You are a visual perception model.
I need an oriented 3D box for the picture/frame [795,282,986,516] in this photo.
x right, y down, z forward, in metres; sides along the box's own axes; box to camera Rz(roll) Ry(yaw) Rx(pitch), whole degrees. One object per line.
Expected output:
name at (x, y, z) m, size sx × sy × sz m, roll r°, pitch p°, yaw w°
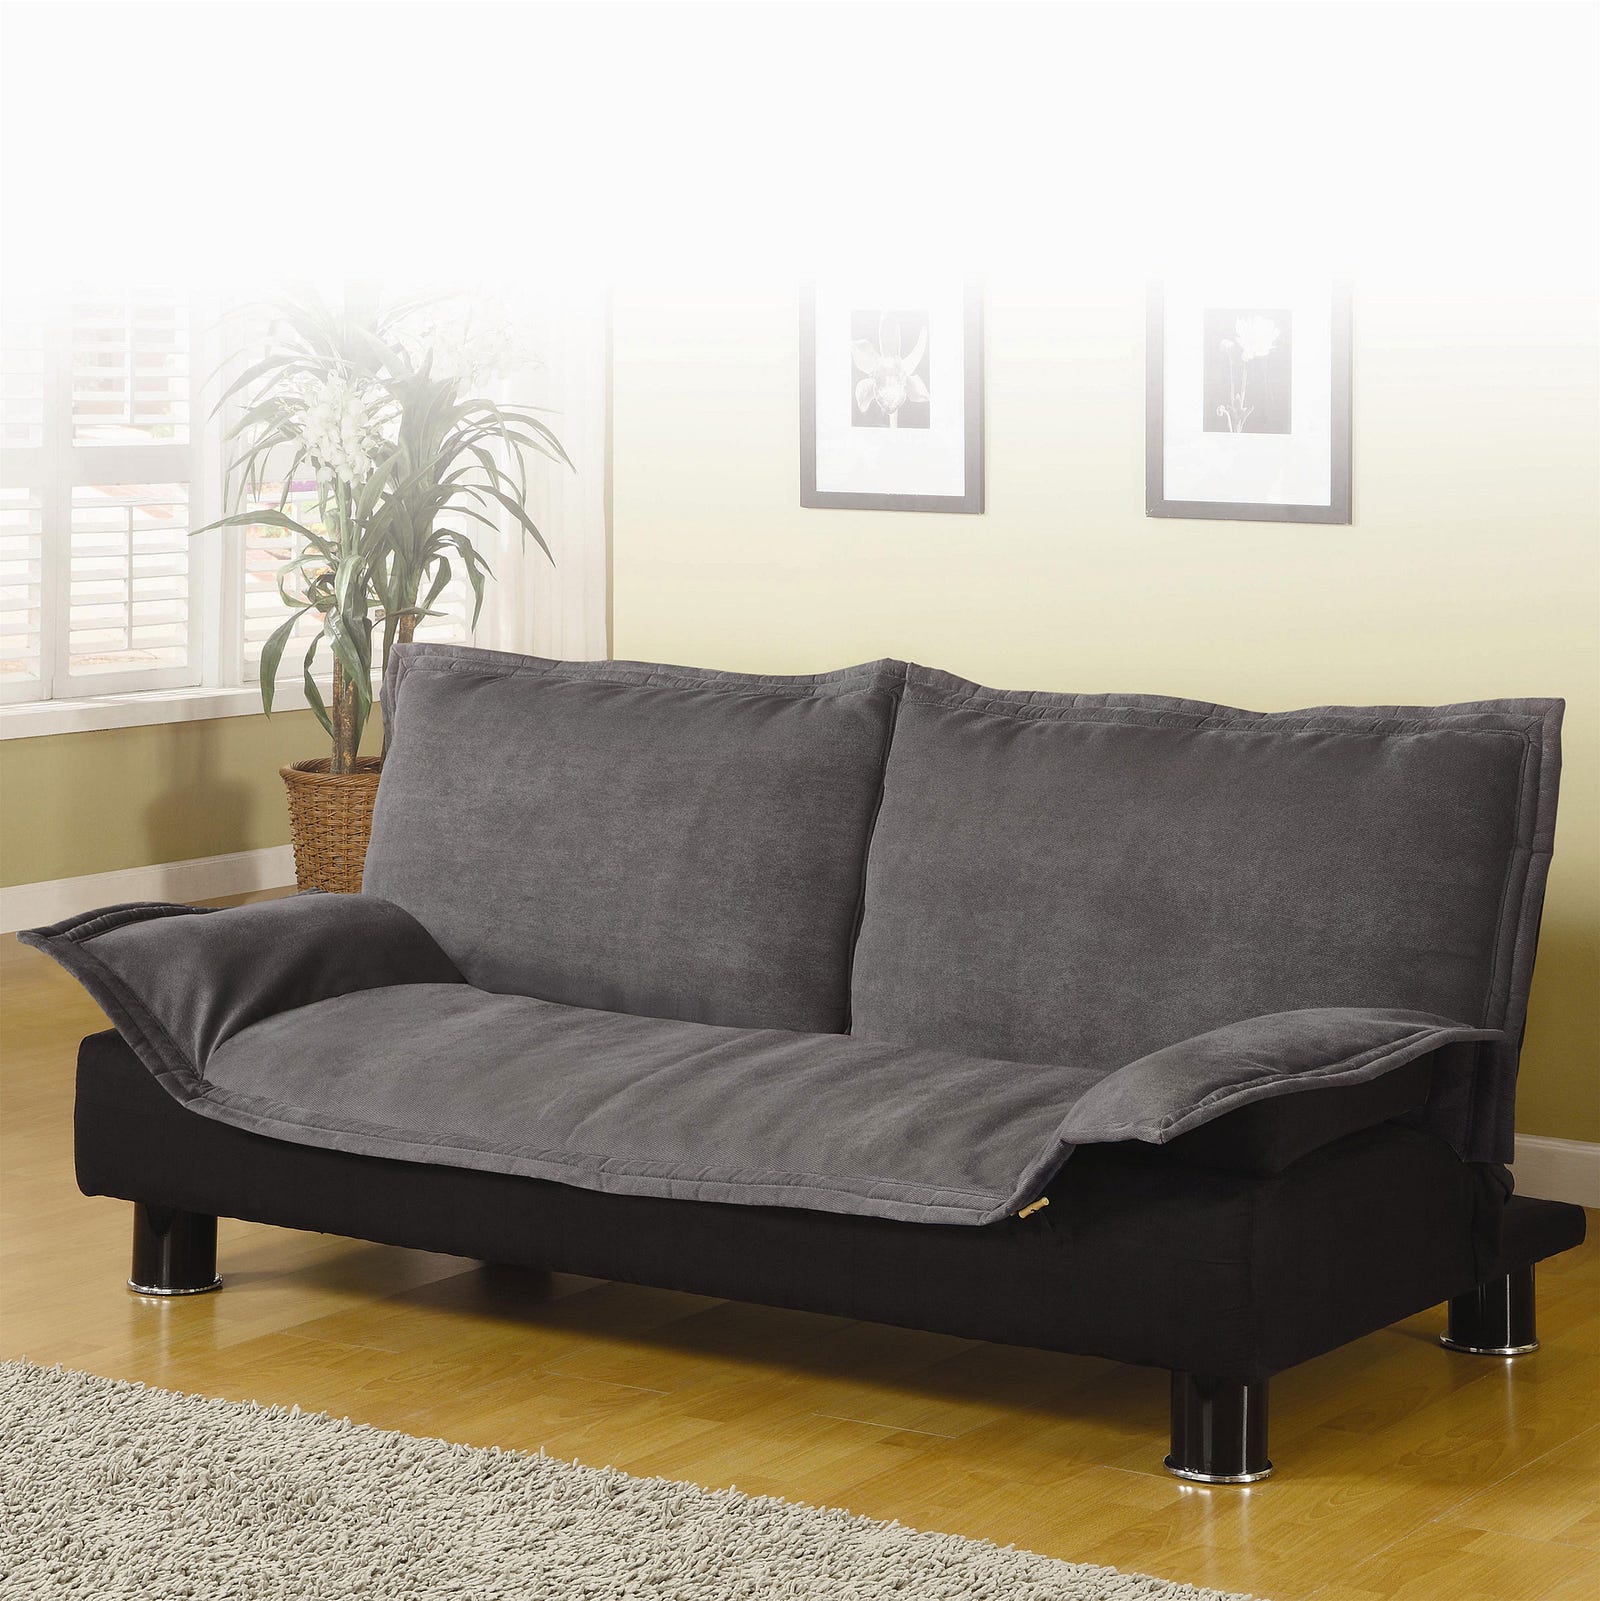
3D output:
picture/frame at (0.205, -0.826, 3.470) m, size 0.585 × 0.569 × 0.031 m, roll 2°, pitch 4°, yaw 25°

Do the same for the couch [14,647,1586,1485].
couch at (0.017, 0.226, 2.370) m, size 1.815 × 1.022 × 0.945 m, roll 0°, pitch -3°, yaw 30°
